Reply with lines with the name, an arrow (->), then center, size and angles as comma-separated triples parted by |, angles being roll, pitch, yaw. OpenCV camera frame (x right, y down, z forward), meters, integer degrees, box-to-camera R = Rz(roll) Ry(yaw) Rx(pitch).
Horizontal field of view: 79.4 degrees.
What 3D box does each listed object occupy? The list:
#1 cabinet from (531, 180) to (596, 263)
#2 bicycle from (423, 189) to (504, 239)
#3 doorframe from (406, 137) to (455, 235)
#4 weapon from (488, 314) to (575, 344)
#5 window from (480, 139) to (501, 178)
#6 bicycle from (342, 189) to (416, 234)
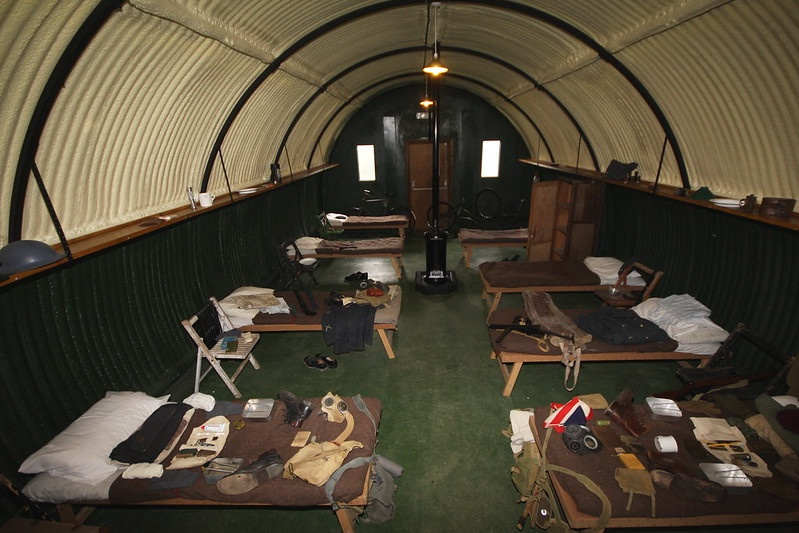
cabinet -> 3.542, -0.792, 10.072 | 1.475, 2.054, 1.178 | 1, 6, -11
bicycle -> 2.085, -1.884, 15.467 | 2.444, 1.105, 1.186 | -16, -3, 31
doorframe -> 0.951, -2.536, 15.064 | 1.567, 2.859, 0.294 | 4, 14, 29
weapon -> 2.040, 0.963, 7.275 | 1.401, 0.087, 0.480 | 3, 24, 20
window -> 2.835, -3.267, 15.117 | 0.654, 0.837, 0.094 | -4, -3, -7
bicycle -> -0.719, -1.606, 14.377 | 2.555, 1.159, 0.859 | 1, -4, 24
